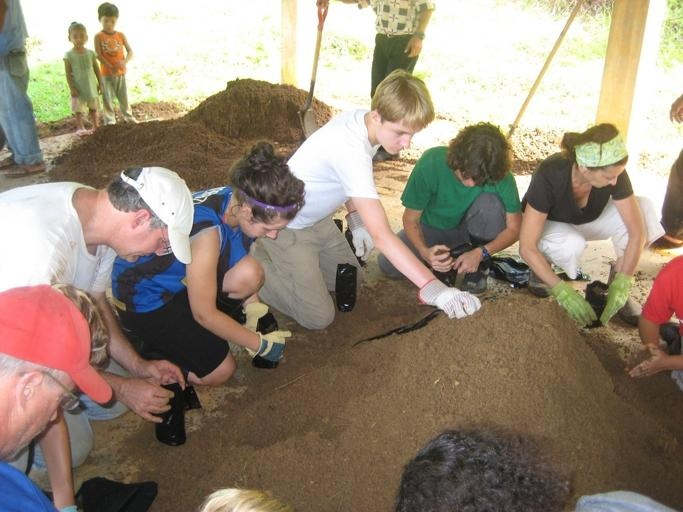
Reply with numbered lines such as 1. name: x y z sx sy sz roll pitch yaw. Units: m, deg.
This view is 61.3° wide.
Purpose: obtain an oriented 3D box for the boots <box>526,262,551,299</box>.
1. boots: 1.297 0.157 3.784 0.073 0.155 0.158 -42 58 6

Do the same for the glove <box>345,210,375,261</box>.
1. glove: 0.134 -0.125 4.149 0.193 0.347 0.114 -17 -8 -1

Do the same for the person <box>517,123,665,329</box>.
1. person: 1.693 -0.163 3.816 0.906 1.430 1.129 1 39 21

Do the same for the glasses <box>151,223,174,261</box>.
1. glasses: -0.835 -0.075 2.745 0.044 0.150 0.112 6 0 1

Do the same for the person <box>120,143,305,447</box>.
1. person: -0.690 0.286 3.177 0.906 1.521 0.638 28 31 -19

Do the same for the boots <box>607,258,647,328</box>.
1. boots: 1.871 0.304 3.846 0.322 0.283 0.117 1 16 -24

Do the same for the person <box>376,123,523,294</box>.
1. person: 0.799 -0.355 3.939 0.831 1.235 0.856 18 47 16

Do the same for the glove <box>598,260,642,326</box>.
1. glove: 1.814 0.291 3.736 0.136 0.299 0.286 -42 24 -23

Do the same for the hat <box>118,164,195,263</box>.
1. hat: -0.774 -0.241 2.765 0.234 0.459 0.287 -33 16 6

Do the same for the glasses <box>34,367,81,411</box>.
1. glasses: -1.031 0.505 2.150 0.050 0.184 0.186 -23 73 -12

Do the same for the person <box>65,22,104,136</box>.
1. person: -2.813 -1.929 6.312 0.385 1.131 0.675 -14 34 -21

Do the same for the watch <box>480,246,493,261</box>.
1. watch: 0.962 -0.020 3.853 0.062 0.094 0.081 -21 19 -11

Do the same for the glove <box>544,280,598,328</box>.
1. glove: 1.440 0.300 3.694 0.216 0.119 0.371 -32 68 -11

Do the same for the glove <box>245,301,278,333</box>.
1. glove: -0.484 0.364 3.628 0.156 0.201 0.200 23 9 10

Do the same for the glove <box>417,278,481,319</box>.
1. glove: 0.577 0.214 3.127 0.275 0.156 0.369 -17 15 5
